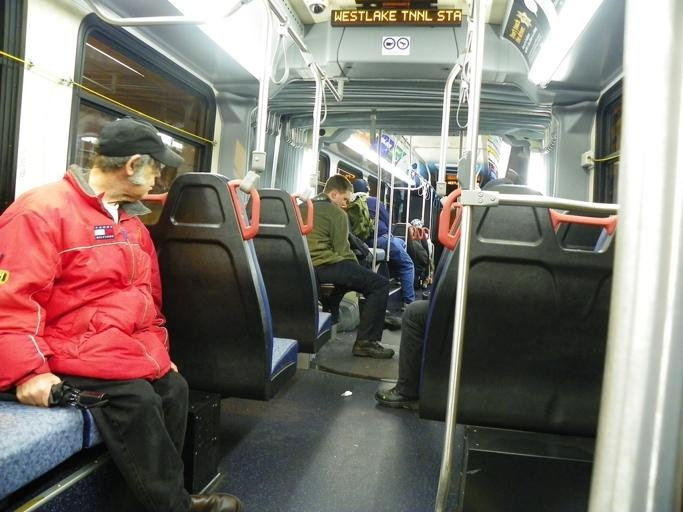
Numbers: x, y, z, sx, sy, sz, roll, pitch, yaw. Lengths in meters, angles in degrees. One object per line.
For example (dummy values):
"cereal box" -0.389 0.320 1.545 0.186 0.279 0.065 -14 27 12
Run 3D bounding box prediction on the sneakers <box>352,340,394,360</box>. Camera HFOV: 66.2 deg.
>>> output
"sneakers" 0.294 0.826 4.686 0.375 0.180 0.150 1 0 1

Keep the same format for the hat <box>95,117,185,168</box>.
"hat" -0.867 -0.480 2.272 0.296 0.159 0.188 -2 16 -33

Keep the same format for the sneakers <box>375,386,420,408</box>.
"sneakers" 0.389 0.940 3.556 0.287 0.146 0.127 8 -2 9
